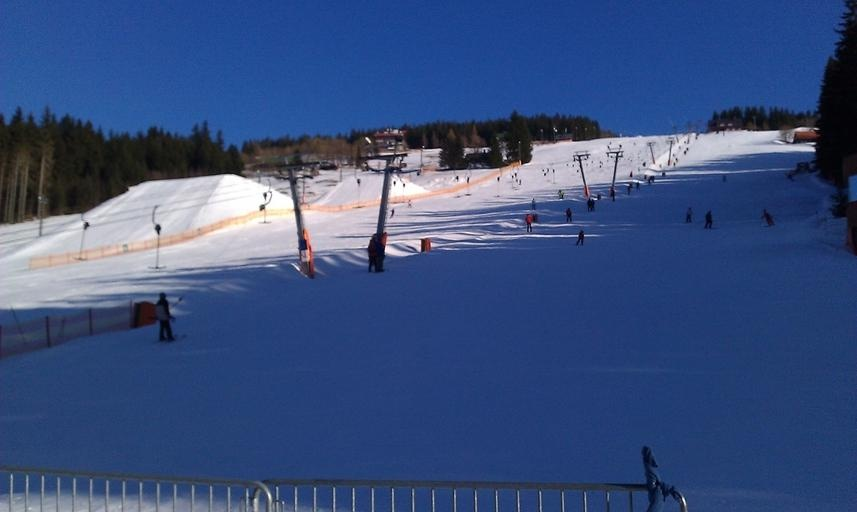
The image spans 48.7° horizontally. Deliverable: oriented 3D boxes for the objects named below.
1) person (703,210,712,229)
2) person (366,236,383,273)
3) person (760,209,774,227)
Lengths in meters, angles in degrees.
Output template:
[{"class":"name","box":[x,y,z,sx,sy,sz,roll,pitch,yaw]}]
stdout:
[{"class":"person","box":[18.750,-2.473,63.481,0.575,1.191,1.617,-1,11,15]},{"class":"person","box":[-3.205,-0.176,56.792,0.929,2.227,0.840,1,11,25]},{"class":"person","box":[23.149,-2.556,64.718,0.797,1.344,0.672,-8,-26,1]}]
